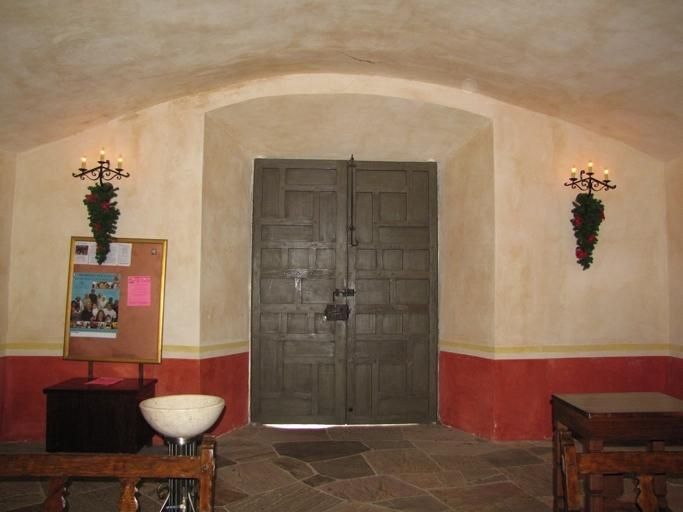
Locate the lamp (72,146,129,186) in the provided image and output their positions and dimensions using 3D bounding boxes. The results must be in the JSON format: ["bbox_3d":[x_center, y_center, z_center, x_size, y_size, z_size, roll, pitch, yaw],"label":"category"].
[{"bbox_3d":[-2.582,-0.945,7.016,0.599,0.403,0.144,0,-10,0],"label":"lamp"}]

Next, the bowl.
[{"bbox_3d":[-1.343,1.387,5.503,0.678,0.311,0.685,1,0,0],"label":"bowl"}]

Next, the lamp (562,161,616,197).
[{"bbox_3d":[2.833,-0.865,7.175,0.610,0.360,0.370,-3,8,-23],"label":"lamp"}]

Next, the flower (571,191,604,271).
[{"bbox_3d":[2.690,-0.271,7.127,0.337,0.835,0.178,3,8,18],"label":"flower"}]

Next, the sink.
[{"bbox_3d":[-1.340,1.339,5.487,0.652,0.284,0.603,-3,8,-21],"label":"sink"}]

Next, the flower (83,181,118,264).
[{"bbox_3d":[-2.540,-0.354,6.970,0.362,0.868,0.229,-5,9,-33],"label":"flower"}]

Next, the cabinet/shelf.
[{"bbox_3d":[-2.550,1.621,6.857,1.118,0.538,1.101,2,-1,-28],"label":"cabinet/shelf"}]
